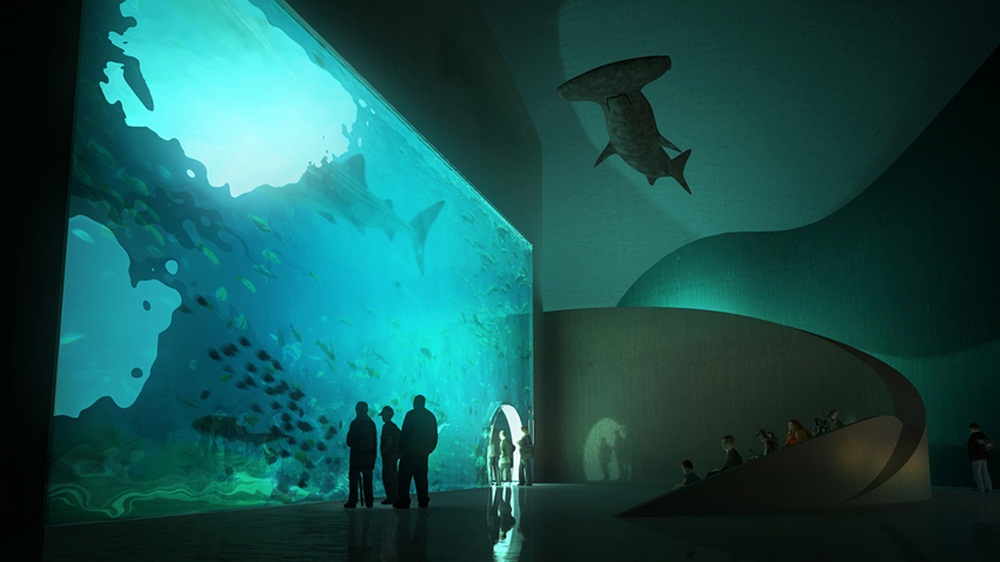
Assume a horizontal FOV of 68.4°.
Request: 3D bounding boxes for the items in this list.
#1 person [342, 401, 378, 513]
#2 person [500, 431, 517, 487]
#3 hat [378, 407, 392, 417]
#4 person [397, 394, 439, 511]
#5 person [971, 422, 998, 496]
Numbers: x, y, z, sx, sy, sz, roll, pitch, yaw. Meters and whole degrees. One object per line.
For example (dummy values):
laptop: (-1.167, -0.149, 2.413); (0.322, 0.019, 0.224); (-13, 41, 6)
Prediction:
person: (-2.112, 2.658, 11.300); (0.435, 1.627, 0.605); (1, -2, -11)
person: (0.245, 3.709, 15.859); (0.394, 0.992, 0.319); (-6, 19, 2)
hat: (-1.781, 2.037, 11.589); (0.296, 0.089, 0.379); (2, -12, -14)
person: (-1.237, 2.602, 11.275); (0.568, 1.739, 0.507); (1, -2, -7)
person: (9.720, 3.546, 14.689); (0.352, 1.324, 0.762); (-1, -2, 33)
